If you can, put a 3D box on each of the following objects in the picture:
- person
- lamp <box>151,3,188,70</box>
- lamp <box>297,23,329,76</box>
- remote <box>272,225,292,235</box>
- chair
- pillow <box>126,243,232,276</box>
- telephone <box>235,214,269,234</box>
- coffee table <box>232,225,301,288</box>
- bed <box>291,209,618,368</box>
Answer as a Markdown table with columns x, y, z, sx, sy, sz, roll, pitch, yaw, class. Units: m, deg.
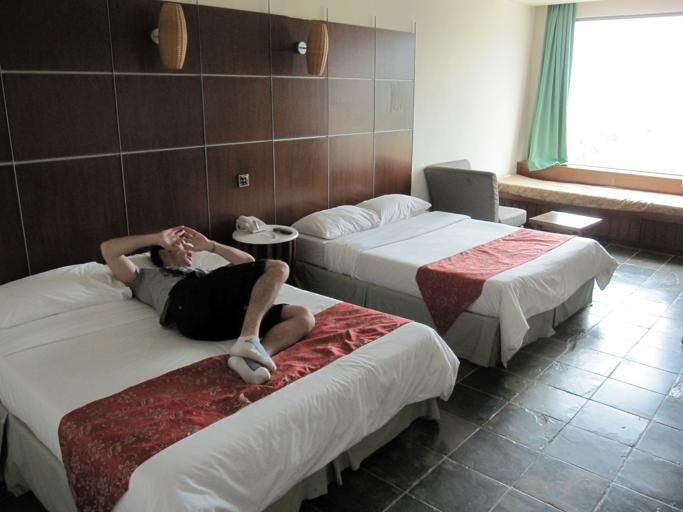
| x | y | z | sx | sy | sz | roll | pitch | yaw | class |
| --- | --- | --- | --- | --- | --- | --- | --- | --- | --- |
| -0.768 | 0.227 | 2.972 | 1.450 | 0.875 | 0.870 | 3 | -3 | 35 | person |
| -1.168 | -1.513 | 3.365 | 0.201 | 0.409 | 0.106 | -6 | 21 | -4 | lamp |
| -0.225 | -1.816 | 4.308 | 0.207 | 0.430 | 0.217 | -6 | 21 | -4 | lamp |
| -0.506 | -0.241 | 4.244 | 0.128 | 0.036 | 0.079 | 22 | 33 | 38 | remote |
| 1.654 | -0.867 | 6.021 | 0.922 | 0.911 | 0.926 | 20 | 35 | 40 | chair |
| -1.112 | 0.051 | 3.432 | 0.331 | 0.080 | 0.327 | 22 | 29 | 37 | pillow |
| -0.792 | -0.273 | 4.176 | 0.176 | 0.090 | 0.181 | 9 | 17 | 32 | telephone |
| -0.640 | 0.006 | 4.265 | 0.454 | 0.498 | 0.474 | 21 | 35 | 33 | coffee table |
| 0.685 | 0.186 | 4.003 | 1.726 | 0.478 | 1.514 | 17 | 28 | 36 | bed |
